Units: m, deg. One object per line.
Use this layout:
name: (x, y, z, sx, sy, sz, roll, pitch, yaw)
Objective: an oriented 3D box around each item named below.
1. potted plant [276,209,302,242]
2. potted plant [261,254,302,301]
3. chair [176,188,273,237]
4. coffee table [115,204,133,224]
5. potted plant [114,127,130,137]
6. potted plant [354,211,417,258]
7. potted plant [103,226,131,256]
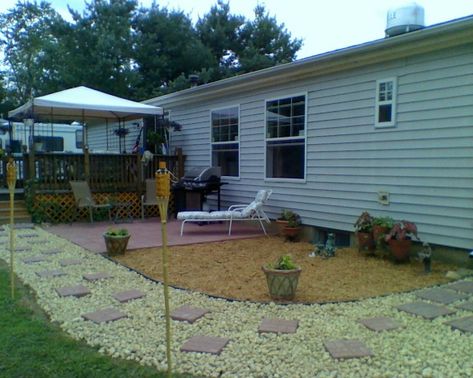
potted plant: (1.029, 0.794, 8.046, 0.608, 0.576, 0.576, 0, -4, -1)
potted plant: (0.637, 1.098, 4.679, 0.481, 0.489, 0.475, 10, -14, -40)
chair: (-0.261, 0.471, 9.084, 2.207, 0.983, 2.390, 1, 2, 2)
coffee table: (-3.018, 0.663, 10.348, 0.618, 0.597, 0.518, 0, -1, -7)
potted plant: (-4.508, -2.254, 15.147, 0.666, 0.334, 0.887, -3, 6, -36)
potted plant: (2.392, 0.747, 6.246, 0.636, 0.437, 0.966, 0, 0, -40)
potted plant: (-1.991, 0.879, 6.523, 0.478, 0.474, 0.462, 0, -5, -6)
